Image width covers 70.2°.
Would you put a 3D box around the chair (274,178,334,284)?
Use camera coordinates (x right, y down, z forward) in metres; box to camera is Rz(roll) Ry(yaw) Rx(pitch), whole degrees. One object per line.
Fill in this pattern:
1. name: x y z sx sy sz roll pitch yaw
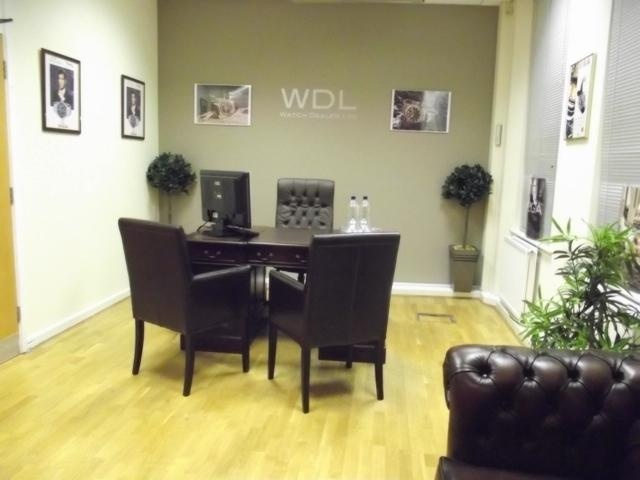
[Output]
1. chair: -0.168 -0.240 5.036 0.673 1.225 0.921 2 6 4

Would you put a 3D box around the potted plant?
1. potted plant: 1.709 -0.117 5.434 0.563 1.542 0.401 2 12 6

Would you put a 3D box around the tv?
1. tv: -0.829 -0.315 3.979 0.484 0.553 0.217 6 22 13
